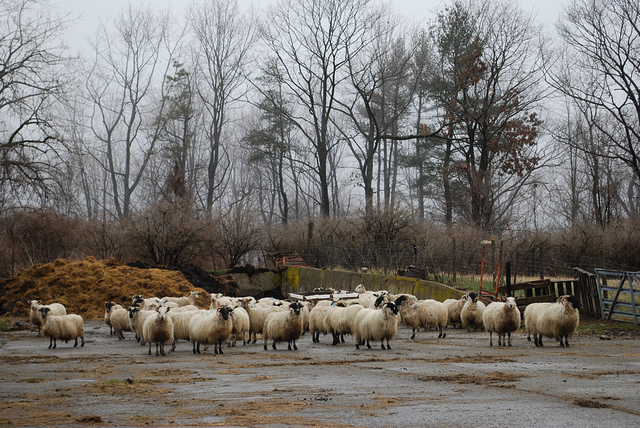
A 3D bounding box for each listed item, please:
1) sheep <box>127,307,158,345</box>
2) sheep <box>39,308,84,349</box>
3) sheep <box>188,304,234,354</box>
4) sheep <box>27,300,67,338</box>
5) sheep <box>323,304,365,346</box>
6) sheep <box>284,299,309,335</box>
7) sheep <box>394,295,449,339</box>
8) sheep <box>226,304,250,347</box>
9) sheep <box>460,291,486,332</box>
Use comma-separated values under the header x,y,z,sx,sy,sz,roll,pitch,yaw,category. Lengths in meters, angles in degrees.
x,y,z,sx,sy,sz,roll,pitch,yaw,category
-8.752,5.328,40.710,0.799,1.665,2.038,4,-6,11,sheep
-11.898,5.229,39.181,1.911,1.792,0.798,2,-5,-26,sheep
-4.851,5.231,38.112,1.439,2.154,2.820,5,-13,-40,sheep
-13.260,4.846,41.773,2.345,2.392,1.465,-9,-3,33,sheep
0.979,5.048,39.487,2.659,2.158,1.430,5,10,24,sheep
-1.244,4.981,41.366,0.973,1.499,2.034,0,5,-6,sheep
4.892,5.012,41.241,2.827,2.220,1.525,0,-3,-10,sheep
-3.958,5.118,39.092,0.944,1.756,2.916,-1,-8,12,sheep
7.380,4.768,41.318,1.095,1.886,1.935,-1,-5,10,sheep
